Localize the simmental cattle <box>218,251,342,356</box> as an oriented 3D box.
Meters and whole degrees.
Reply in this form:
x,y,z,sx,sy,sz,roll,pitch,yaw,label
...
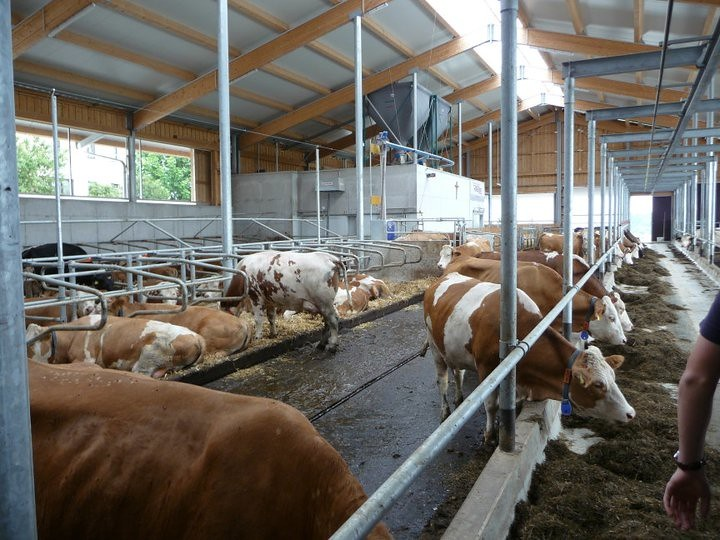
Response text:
x,y,z,sx,sy,sz,roll,pitch,yaw,label
-1.014,0.326,6.257,1.590,1.198,0.708,3,6,6,simmental cattle

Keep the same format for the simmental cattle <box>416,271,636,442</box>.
x,y,z,sx,sy,sz,roll,pitch,yaw,label
1.024,0.640,3.511,0.735,1.072,1.536,0,4,-33,simmental cattle
